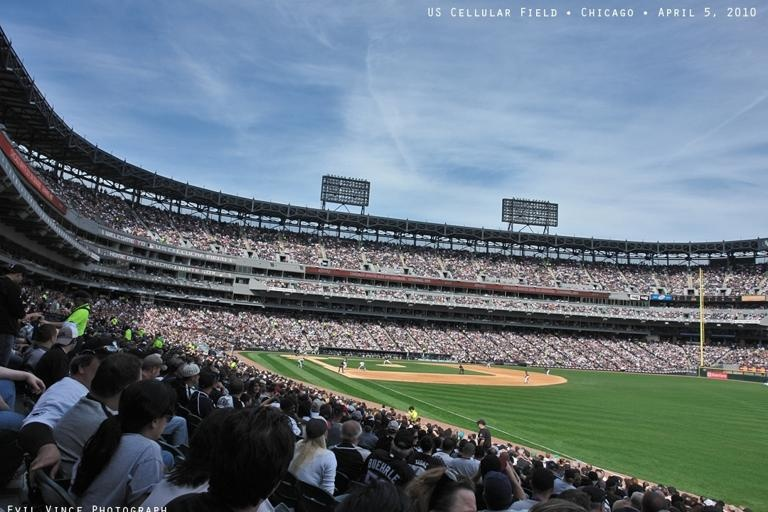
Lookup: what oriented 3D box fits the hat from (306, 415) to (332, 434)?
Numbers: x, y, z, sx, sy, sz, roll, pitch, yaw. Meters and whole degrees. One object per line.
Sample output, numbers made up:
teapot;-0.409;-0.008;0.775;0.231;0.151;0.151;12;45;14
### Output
hat;-2.440;6.220;25.161;0.961;0.522;1.112;-3;16;2
